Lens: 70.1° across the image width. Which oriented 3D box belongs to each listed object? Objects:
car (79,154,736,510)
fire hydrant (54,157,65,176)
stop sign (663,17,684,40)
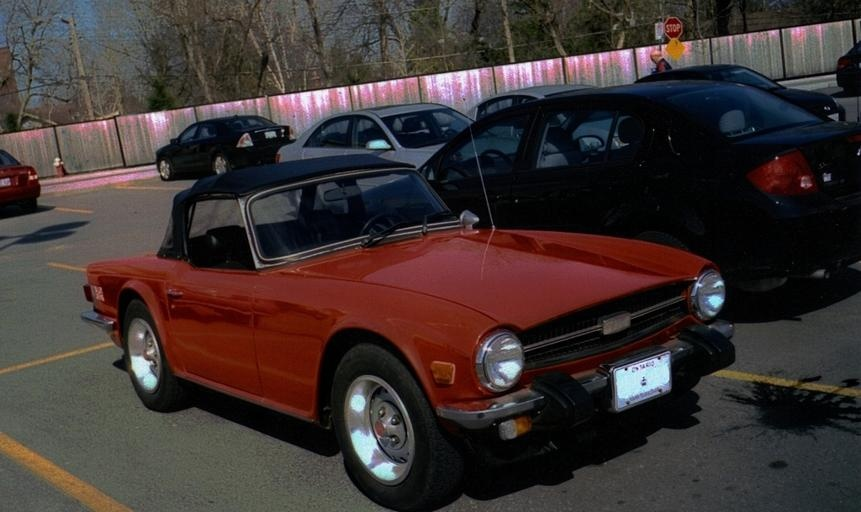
[{"bbox_3d":[-0.715,0.499,5.367,4.874,1.619,2.650,9,18,41],"label":"car"},{"bbox_3d":[-17.488,-4.149,28.862,0.457,0.854,1.136,-16,17,-28],"label":"fire hydrant"},{"bbox_3d":[8.711,-8.154,22.034,0.547,0.808,1.506,-2,15,22],"label":"stop sign"}]
